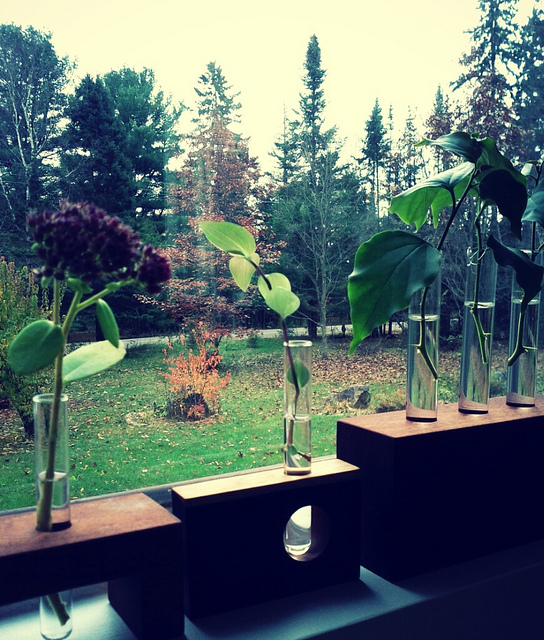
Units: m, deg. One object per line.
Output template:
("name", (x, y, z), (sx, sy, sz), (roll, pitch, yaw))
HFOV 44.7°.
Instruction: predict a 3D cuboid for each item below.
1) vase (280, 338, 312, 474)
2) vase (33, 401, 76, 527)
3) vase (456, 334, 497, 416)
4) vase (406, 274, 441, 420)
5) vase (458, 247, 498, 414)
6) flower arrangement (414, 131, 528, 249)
("vase", (0.045, 0.160, 1.224), (0.051, 0.239, 0.062), (-1, 9, 3))
("vase", (-0.355, 0.226, 1.066), (0.065, 0.220, 0.141), (-5, 10, -21))
("vase", (0.443, 0.121, 1.446), (0.069, 0.175, 0.055), (0, 9, 12))
("vase", (0.311, 0.063, 1.374), (0.068, 0.284, 0.072), (0, 9, 12))
("vase", (0.451, 0.021, 1.460), (0.073, 0.359, 0.108), (1, 10, 19))
("flower arrangement", (0.412, -0.240, 1.414), (0.251, 0.302, 0.211), (-2, 3, 2))
